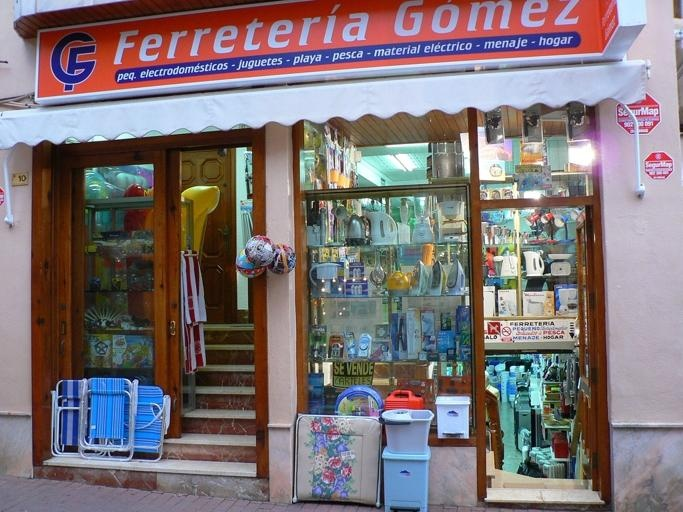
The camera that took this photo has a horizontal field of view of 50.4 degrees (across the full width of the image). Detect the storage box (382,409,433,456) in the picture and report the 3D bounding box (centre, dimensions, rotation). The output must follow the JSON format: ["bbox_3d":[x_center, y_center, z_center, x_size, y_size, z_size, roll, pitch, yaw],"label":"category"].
[{"bbox_3d":[0.602,1.663,6.951,0.505,0.393,0.439,-1,11,-7],"label":"storage box"}]

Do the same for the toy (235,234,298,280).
[{"bbox_3d":[-0.751,-0.022,7.220,0.519,0.271,0.358,-7,30,-14],"label":"toy"}]

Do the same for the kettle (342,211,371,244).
[{"bbox_3d":[0.167,-0.315,7.896,0.310,0.503,0.279,0,4,28],"label":"kettle"}]

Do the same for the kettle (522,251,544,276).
[{"bbox_3d":[2.190,0.085,8.238,0.179,0.357,0.318,-3,4,-6],"label":"kettle"}]

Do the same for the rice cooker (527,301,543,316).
[{"bbox_3d":[2.293,0.605,8.554,0.193,0.186,0.131,-4,6,-34],"label":"rice cooker"}]

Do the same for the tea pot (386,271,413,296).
[{"bbox_3d":[0.613,0.280,7.662,0.236,0.379,0.229,0,-1,0],"label":"tea pot"}]

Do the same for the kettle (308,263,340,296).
[{"bbox_3d":[-0.167,0.224,7.822,0.356,0.407,0.222,-1,10,19],"label":"kettle"}]

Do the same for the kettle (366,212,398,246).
[{"bbox_3d":[0.473,-0.287,7.852,0.369,0.411,0.256,-4,-13,24],"label":"kettle"}]

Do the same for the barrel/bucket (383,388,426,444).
[{"bbox_3d":[0.636,1.541,7.278,0.300,0.338,0.193,-1,-2,13],"label":"barrel/bucket"}]

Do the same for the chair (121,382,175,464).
[{"bbox_3d":[-2.063,1.757,7.696,0.488,0.797,0.265,2,0,12],"label":"chair"}]

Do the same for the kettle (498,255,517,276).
[{"bbox_3d":[1.909,0.086,8.253,0.217,0.310,0.220,2,1,22],"label":"kettle"}]

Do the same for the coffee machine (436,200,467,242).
[{"bbox_3d":[1.139,-0.366,7.531,0.321,0.429,0.303,-1,4,35],"label":"coffee machine"}]
